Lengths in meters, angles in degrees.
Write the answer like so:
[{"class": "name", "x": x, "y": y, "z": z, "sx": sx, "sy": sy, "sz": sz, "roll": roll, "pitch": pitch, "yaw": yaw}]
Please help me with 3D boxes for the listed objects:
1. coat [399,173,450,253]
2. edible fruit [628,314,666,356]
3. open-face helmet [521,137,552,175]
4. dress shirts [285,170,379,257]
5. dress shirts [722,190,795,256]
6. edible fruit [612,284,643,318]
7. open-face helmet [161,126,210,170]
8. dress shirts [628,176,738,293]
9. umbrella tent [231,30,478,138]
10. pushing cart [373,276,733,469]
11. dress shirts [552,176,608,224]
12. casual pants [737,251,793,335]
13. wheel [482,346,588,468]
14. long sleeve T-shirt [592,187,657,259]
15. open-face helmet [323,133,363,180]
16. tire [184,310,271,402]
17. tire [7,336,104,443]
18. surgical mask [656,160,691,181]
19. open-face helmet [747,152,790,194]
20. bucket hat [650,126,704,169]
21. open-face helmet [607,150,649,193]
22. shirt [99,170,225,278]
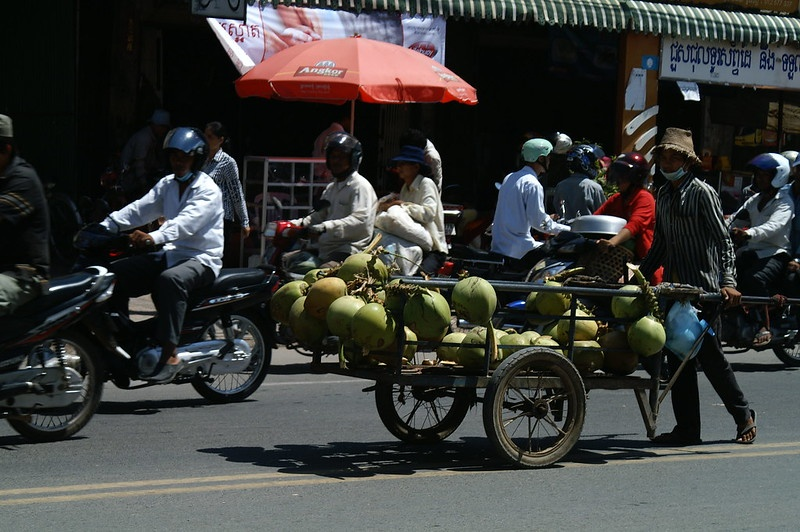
[{"class": "coat", "x": 0.418, "y": -0.838, "z": 14.937, "sx": 0.469, "sy": 0.686, "sz": 0.600, "roll": -2, "pitch": 33, "yaw": 6}, {"class": "edible fruit", "x": 2.377, "y": 0.672, "z": 11.631, "sx": 0.372, "sy": 0.407, "sz": 0.360, "roll": 0, "pitch": 4, "yaw": -12}, {"class": "open-face helmet", "x": 1.719, "y": -1.444, "z": 15.524, "sx": 0.443, "sy": 0.456, "sz": 0.371, "roll": -13, "pitch": 23, "yaw": -16}, {"class": "dress shirts", "x": -0.777, "y": -0.513, "z": 14.086, "sx": 0.904, "sy": 1.149, "sz": 0.880, "roll": 5, "pitch": 5, "yaw": -34}, {"class": "dress shirts", "x": 4.748, "y": -0.546, "z": 15.362, "sx": 0.909, "sy": 0.894, "sz": 0.729, "roll": 7, "pitch": 1, "yaw": -8}, {"class": "edible fruit", "x": 2.219, "y": 0.349, "z": 11.676, "sx": 0.296, "sy": 0.326, "sz": 0.278, "roll": 1, "pitch": 4, "yaw": 5}, {"class": "open-face helmet", "x": -2.327, "y": -1.224, "z": 12.896, "sx": 0.474, "sy": 0.499, "sz": 0.558, "roll": 4, "pitch": 2, "yaw": 11}, {"class": "dress shirts", "x": 2.999, "y": -0.354, "z": 12.484, "sx": 0.490, "sy": 1.151, "sz": 1.348, "roll": -14, "pitch": 11, "yaw": -35}, {"class": "umbrella tent", "x": -0.800, "y": -2.588, "z": 16.390, "sx": 1.673, "sy": 1.012, "sz": 1.735, "roll": 5, "pitch": 5, "yaw": 43}, {"class": "pushing cart", "x": 1.254, "y": 1.052, "z": 11.809, "sx": 3.107, "sy": 1.419, "sz": 1.752, "roll": 3, "pitch": -6, "yaw": -24}, {"class": "dress shirts", "x": 2.359, "y": -0.840, "z": 15.613, "sx": 0.671, "sy": 0.724, "sz": 0.415, "roll": 8, "pitch": 23, "yaw": 27}, {"class": "casual pants", "x": 4.653, "y": 0.347, "z": 15.437, "sx": 0.643, "sy": 0.995, "sz": 0.426, "roll": -1, "pitch": 10, "yaw": -19}, {"class": "wheel", "x": 1.298, "y": 1.330, "z": 11.432, "sx": 0.911, "sy": 0.941, "sz": 0.379, "roll": 27, "pitch": -8, "yaw": -10}, {"class": "long sleeve T-shirt", "x": 2.581, "y": -0.450, "z": 13.606, "sx": 0.551, "sy": 0.885, "sz": 0.810, "roll": 8, "pitch": -5, "yaw": -16}, {"class": "open-face helmet", "x": -0.637, "y": -1.270, "z": 14.027, "sx": 0.459, "sy": 0.525, "sz": 0.476, "roll": 2, "pitch": -8, "yaw": -1}, {"class": "tire", "x": -1.738, "y": 1.018, "z": 13.411, "sx": 1.031, "sy": 1.032, "sz": 0.969, "roll": 1, "pitch": -4, "yaw": 5}, {"class": "tire", "x": -3.332, "y": 1.227, "z": 12.164, "sx": 1.063, "sy": 1.063, "sz": 0.994, "roll": -10, "pitch": -4, "yaw": -1}, {"class": "surgical mask", "x": 2.839, "y": -1.004, "z": 12.332, "sx": 0.235, "sy": 0.201, "sz": 0.264, "roll": 2, "pitch": -29, "yaw": 45}, {"class": "open-face helmet", "x": 4.766, "y": -1.235, "z": 15.524, "sx": 0.524, "sy": 0.392, "sz": 0.379, "roll": 4, "pitch": -2, "yaw": -6}, {"class": "bucket hat", "x": 2.875, "y": -1.223, "z": 12.329, "sx": 0.478, "sy": 0.383, "sz": 0.437, "roll": 5, "pitch": 14, "yaw": 12}, {"class": "open-face helmet", "x": 2.712, "y": -1.134, "z": 14.206, "sx": 0.585, "sy": 0.454, "sz": 0.461, "roll": 0, "pitch": 10, "yaw": -42}, {"class": "shirt", "x": -2.450, "y": -0.437, "z": 12.867, "sx": 1.084, "sy": 1.141, "sz": 1.242, "roll": 9, "pitch": 3, "yaw": 34}]
